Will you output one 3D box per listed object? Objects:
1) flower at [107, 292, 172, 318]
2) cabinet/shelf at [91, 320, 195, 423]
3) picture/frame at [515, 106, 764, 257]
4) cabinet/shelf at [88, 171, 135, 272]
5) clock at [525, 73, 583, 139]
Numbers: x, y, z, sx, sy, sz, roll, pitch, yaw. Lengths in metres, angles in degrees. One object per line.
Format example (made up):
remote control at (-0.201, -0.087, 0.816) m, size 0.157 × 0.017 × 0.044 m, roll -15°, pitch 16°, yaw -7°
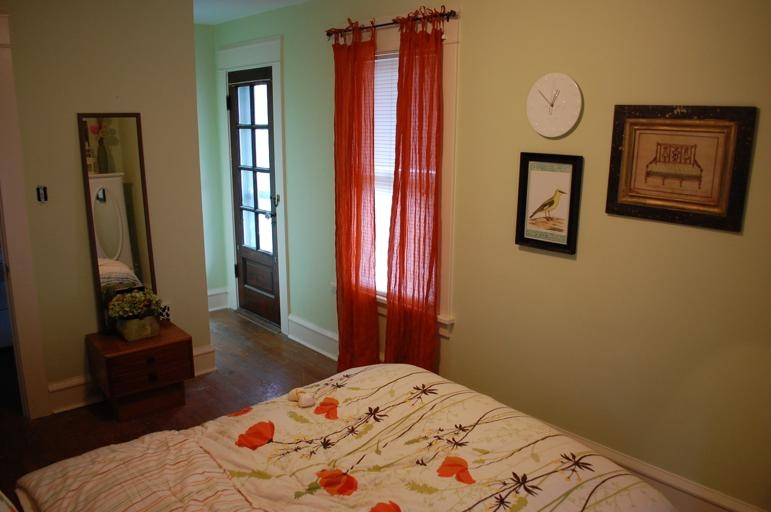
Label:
flower at (-1.892, 0.372, 4.194) m, size 0.234 × 0.147 × 0.306 m, roll 5°, pitch 8°, yaw 28°
cabinet/shelf at (-1.961, 0.805, 4.329) m, size 0.663 × 0.652 × 0.703 m, roll -11°, pitch 17°, yaw -40°
picture/frame at (1.604, -0.468, 3.299) m, size 0.875 × 0.767 × 0.075 m, roll 10°, pitch 12°, yaw 32°
cabinet/shelf at (-2.135, -0.271, 4.200) m, size 0.238 × 0.720 × 0.118 m, roll -9°, pitch 18°, yaw -29°
clock at (1.115, -0.990, 3.529) m, size 0.440 × 0.530 × 0.075 m, roll -2°, pitch 1°, yaw 43°
